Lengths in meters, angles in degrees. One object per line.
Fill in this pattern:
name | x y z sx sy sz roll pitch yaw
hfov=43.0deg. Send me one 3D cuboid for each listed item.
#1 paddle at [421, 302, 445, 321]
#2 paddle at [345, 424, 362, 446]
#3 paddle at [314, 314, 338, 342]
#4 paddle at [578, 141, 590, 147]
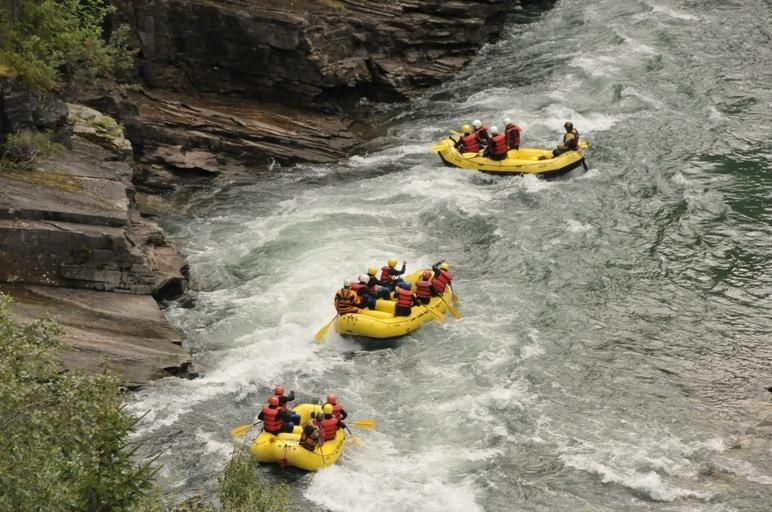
paddle | 2.152 2.510 44.361 1.421 0.356 0.250 34 13 32
paddle | -1.319 7.323 39.983 0.447 0.115 1.142 -19 45 -15
paddle | -2.672 3.210 43.878 0.543 1.581 0.077 40 -29 -14
paddle | 10.543 -5.942 52.253 0.627 0.205 0.687 5 18 6
